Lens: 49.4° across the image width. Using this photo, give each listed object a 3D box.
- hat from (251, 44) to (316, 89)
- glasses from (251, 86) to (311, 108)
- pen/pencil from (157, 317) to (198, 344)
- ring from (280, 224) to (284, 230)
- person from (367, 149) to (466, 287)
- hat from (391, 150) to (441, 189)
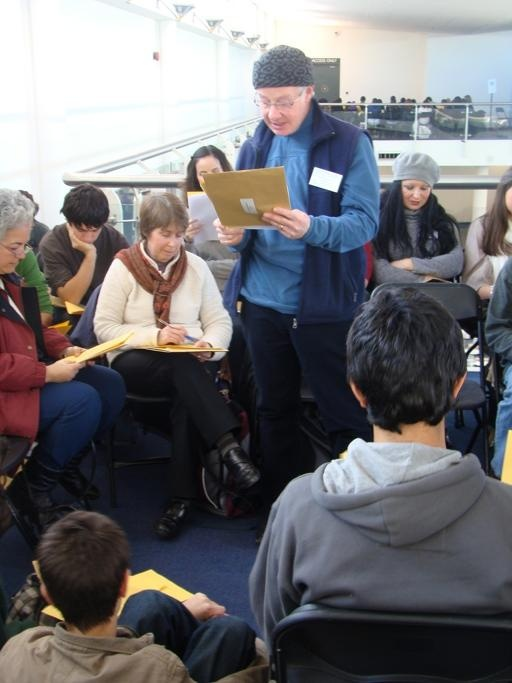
[{"bbox_3d":[0.096,-0.956,1.942,0.192,0.138,0.084,-2,16,-6],"label":"hat"},{"bbox_3d":[0.086,-0.870,1.989,0.197,0.076,0.125,3,16,10],"label":"glasses"},{"bbox_3d":[-0.359,-0.046,2.498,0.184,0.024,0.024,34,55,17],"label":"pen/pencil"},{"bbox_3d":[0.088,-0.383,1.858,0.013,0.013,0.013,-7,-2,0],"label":"ring"},{"bbox_3d":[0.939,-0.692,3.427,0.717,0.876,0.609,-4,11,-21],"label":"person"},{"bbox_3d":[0.980,-1.052,3.392,0.272,0.211,0.250,4,16,14],"label":"hat"}]
